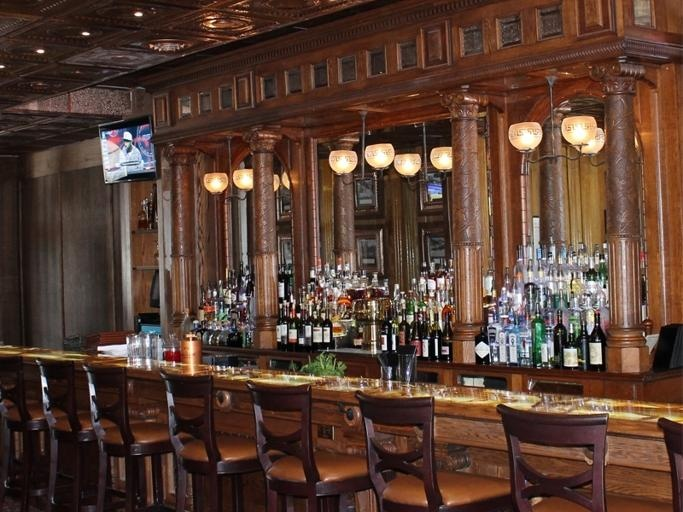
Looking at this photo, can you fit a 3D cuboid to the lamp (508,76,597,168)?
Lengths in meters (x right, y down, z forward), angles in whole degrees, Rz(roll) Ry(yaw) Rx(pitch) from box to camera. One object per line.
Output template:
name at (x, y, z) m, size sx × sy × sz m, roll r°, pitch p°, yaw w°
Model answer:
lamp at (1.513, -0.989, 5.281) m, size 0.652 × 0.684 × 0.646 m, roll -2°, pitch 5°, yaw 12°

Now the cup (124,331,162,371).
cup at (-1.505, 0.714, 5.462) m, size 0.245 × 0.234 × 0.244 m, roll -1°, pitch 2°, yaw 0°

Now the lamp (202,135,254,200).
lamp at (-1.286, -0.978, 7.941) m, size 0.641 × 0.938 × 0.636 m, roll 0°, pitch -1°, yaw -14°

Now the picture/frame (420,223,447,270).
picture/frame at (0.826, -0.031, 6.478) m, size 0.293 × 0.505 × 0.031 m, roll 0°, pitch -6°, yaw -29°

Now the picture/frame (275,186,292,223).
picture/frame at (-0.586, -0.521, 7.250) m, size 0.224 × 0.339 × 0.027 m, roll -2°, pitch -4°, yaw 44°

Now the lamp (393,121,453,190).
lamp at (0.719, -0.918, 6.453) m, size 0.487 × 0.425 × 0.494 m, roll -2°, pitch 1°, yaw -11°

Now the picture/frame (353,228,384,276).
picture/frame at (0.232, -0.023, 6.789) m, size 0.307 × 0.409 × 0.043 m, roll -3°, pitch 2°, yaw -10°

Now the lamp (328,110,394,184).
lamp at (0.184, -0.954, 6.620) m, size 0.531 × 0.600 × 0.700 m, roll 3°, pitch -4°, yaw -36°

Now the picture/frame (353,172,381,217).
picture/frame at (0.241, -0.568, 6.795) m, size 0.406 × 0.525 × 0.062 m, roll -3°, pitch -5°, yaw 35°
